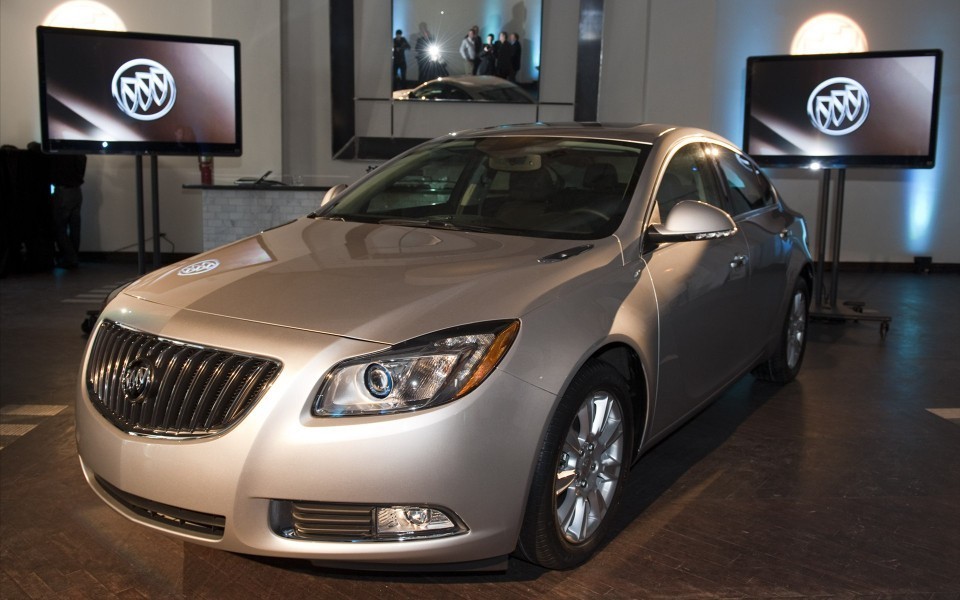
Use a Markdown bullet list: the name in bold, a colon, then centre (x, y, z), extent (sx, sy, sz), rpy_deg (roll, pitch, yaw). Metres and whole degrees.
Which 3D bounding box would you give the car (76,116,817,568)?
- **car**: centre (-0.018, 0.060, 3.197), extent (3.551, 1.968, 1.663), rpy_deg (-10, 17, -36)

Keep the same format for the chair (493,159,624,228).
- **chair**: centre (0.456, -0.537, 3.314), extent (0.529, 0.200, 0.401), rpy_deg (-13, 40, 11)

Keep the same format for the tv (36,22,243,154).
- **tv**: centre (-3.302, -2.006, 5.930), extent (1.567, 1.041, 0.117), rpy_deg (0, 7, -16)
